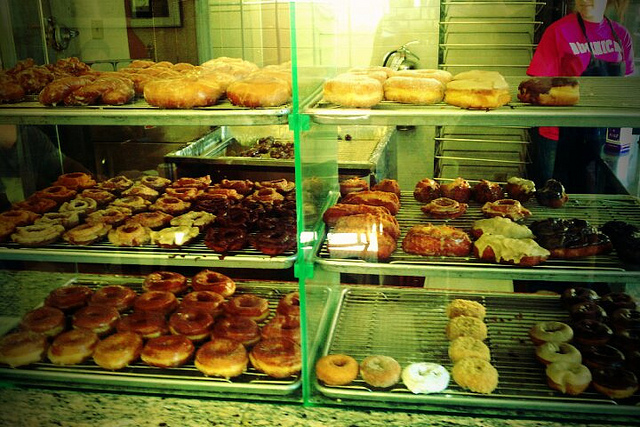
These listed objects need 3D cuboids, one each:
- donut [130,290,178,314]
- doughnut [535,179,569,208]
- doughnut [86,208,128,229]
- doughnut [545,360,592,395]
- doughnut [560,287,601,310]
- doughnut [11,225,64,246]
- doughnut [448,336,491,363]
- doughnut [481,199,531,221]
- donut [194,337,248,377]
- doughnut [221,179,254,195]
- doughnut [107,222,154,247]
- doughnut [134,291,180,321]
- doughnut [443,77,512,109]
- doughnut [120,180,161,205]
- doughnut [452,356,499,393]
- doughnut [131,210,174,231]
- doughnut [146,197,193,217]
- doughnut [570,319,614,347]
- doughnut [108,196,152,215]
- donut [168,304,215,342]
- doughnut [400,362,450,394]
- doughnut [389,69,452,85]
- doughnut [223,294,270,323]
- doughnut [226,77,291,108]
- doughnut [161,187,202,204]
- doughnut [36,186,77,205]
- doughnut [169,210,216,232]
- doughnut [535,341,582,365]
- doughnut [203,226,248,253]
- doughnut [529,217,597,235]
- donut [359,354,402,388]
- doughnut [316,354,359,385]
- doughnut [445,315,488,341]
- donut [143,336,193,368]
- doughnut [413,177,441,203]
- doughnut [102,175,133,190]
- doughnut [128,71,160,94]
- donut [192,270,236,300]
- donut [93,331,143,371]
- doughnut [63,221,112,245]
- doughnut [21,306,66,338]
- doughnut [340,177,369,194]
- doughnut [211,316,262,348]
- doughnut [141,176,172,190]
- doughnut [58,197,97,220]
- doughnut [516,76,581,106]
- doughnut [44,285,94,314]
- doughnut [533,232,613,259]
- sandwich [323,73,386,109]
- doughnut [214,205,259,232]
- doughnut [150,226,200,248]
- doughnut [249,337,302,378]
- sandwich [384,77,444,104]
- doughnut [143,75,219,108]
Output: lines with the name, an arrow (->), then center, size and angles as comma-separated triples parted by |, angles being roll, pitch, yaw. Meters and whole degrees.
donut -> -0.936, 0.495, 2.676 | 0.192, 0.044, 0.165 | 1, 6, -23
doughnut -> 1.302, -0.107, 2.652 | 0.171, 0.058, 0.176 | 5, 34, 18
doughnut -> -1.197, 0.020, 2.664 | 0.159, 0.043, 0.162 | 18, 19, 39
doughnut -> 1.094, 0.714, 2.086 | 0.177, 0.049, 0.147 | -9, 17, -16
doughnut -> 1.407, 0.450, 2.561 | 0.159, 0.042, 0.150 | 3, 16, 37
doughnut -> -1.427, 0.104, 2.418 | 0.165, 0.027, 0.135 | 5, 15, 12
doughnut -> 0.720, 0.645, 2.276 | 0.164, 0.043, 0.133 | -12, 26, -2
doughnut -> 0.996, -0.023, 2.558 | 0.174, 0.038, 0.159 | 5, 19, 32
donut -> -0.473, 0.691, 2.283 | 0.241, 0.095, 0.203 | 8, 23, 20
doughnut -> -0.537, -0.169, 3.021 | 0.164, 0.051, 0.118 | 2, 10, -12
doughnut -> -0.996, 0.114, 2.469 | 0.178, 0.033, 0.151 | 11, 25, 18
doughnut -> -0.930, 0.515, 2.673 | 0.210, 0.047, 0.173 | 1, 10, -14
doughnut -> 0.708, -0.542, 2.133 | 0.243, 0.061, 0.210 | -2, 14, 1
doughnut -> -1.132, -0.136, 3.001 | 0.177, 0.040, 0.164 | 13, 20, 27
doughnut -> 0.708, 0.704, 2.165 | 0.055, 0.160, 0.139 | 40, 18, -29
doughnut -> -0.931, 0.031, 2.632 | 0.149, 0.032, 0.143 | 15, 18, 34
doughnut -> -0.901, -0.043, 2.813 | 0.185, 0.040, 0.157 | 5, 12, 21
doughnut -> 1.326, 0.579, 2.314 | 0.161, 0.042, 0.135 | -9, 18, -19
doughnut -> -1.149, -0.048, 2.865 | 0.174, 0.039, 0.145 | 2, 15, -5
donut -> -0.713, 0.554, 2.577 | 0.292, 0.089, 0.223 | 11, 45, -28
doughnut -> 0.481, 0.750, 2.165 | 0.212, 0.070, 0.144 | 1, 22, 2
doughnut -> 0.550, -0.717, 2.482 | 0.274, 0.056, 0.223 | 0, 13, 3
doughnut -> -0.418, 0.551, 2.678 | 0.259, 0.062, 0.224 | 9, 9, 26
doughnut -> -0.288, -0.597, 2.274 | 0.342, 0.083, 0.289 | -10, 31, -13
doughnut -> -0.872, -0.120, 2.951 | 0.183, 0.036, 0.135 | 2, 11, -1
doughnut -> -1.633, -0.122, 2.934 | 0.185, 0.053, 0.154 | 5, 7, 13
doughnut -> -0.699, 0.035, 2.580 | 0.177, 0.040, 0.146 | -5, 13, -13
doughnut -> 1.114, 0.652, 2.214 | 0.149, 0.036, 0.122 | -3, 11, 9
doughnut -> -0.465, 0.132, 2.349 | 0.209, 0.062, 0.187 | -3, 21, -7
doughnut -> 1.176, 0.064, 2.276 | 0.178, 0.035, 0.137 | -3, 5, -12
donut -> 0.291, 0.725, 2.206 | 0.169, 0.085, 0.188 | 16, 27, 35
doughnut -> 0.080, 0.724, 2.201 | 0.173, 0.082, 0.143 | -13, 26, -30
doughnut -> 0.736, 0.576, 2.387 | 0.176, 0.040, 0.143 | -6, 15, -8
donut -> -0.746, 0.674, 2.309 | 0.186, 0.048, 0.155 | -2, 16, -18
doughnut -> 0.649, -0.139, 2.845 | 0.179, 0.063, 0.192 | -5, 22, 14
doughnut -> -1.327, -0.197, 3.104 | 0.140, 0.037, 0.121 | -10, 21, -37
doughnut -> -0.972, -0.735, 2.596 | 0.226, 0.054, 0.174 | 1, 27, -6
donut -> -0.673, 0.447, 2.905 | 0.342, 0.076, 0.263 | 7, -3, 9
donut -> -0.993, 0.679, 2.339 | 0.188, 0.090, 0.208 | 19, 29, 40
doughnut -> -1.213, 0.107, 2.449 | 0.188, 0.034, 0.127 | 4, 30, 15
doughnut -> -1.499, 0.590, 2.561 | 0.218, 0.049, 0.177 | -5, 27, -26
doughnut -> 0.205, -0.168, 2.838 | 0.136, 0.054, 0.122 | 6, 14, 28
doughnut -> -0.444, 0.616, 2.508 | 0.274, 0.069, 0.227 | -1, 20, -20
doughnut -> -1.092, -0.209, 3.166 | 0.157, 0.028, 0.128 | 5, 12, 7
doughnut -> -1.419, -0.043, 2.780 | 0.170, 0.030, 0.165 | -18, 27, -37
doughnut -> 1.129, -0.572, 2.179 | 0.241, 0.063, 0.161 | -12, 1, -13
doughnut -> -1.461, 0.498, 2.753 | 0.215, 0.041, 0.173 | -3, 19, -11
doughnut -> 1.181, 0.143, 2.196 | 0.240, 0.046, 0.167 | -3, 6, -4
sandwich -> 0.158, -0.574, 2.264 | 0.276, 0.124, 0.143 | 0, 24, 0
doughnut -> -0.438, 0.033, 2.537 | 0.254, 0.071, 0.199 | 0, 42, -14
doughnut -> -0.743, 0.117, 2.416 | 0.177, 0.035, 0.138 | -6, 15, -31
doughnut -> -0.192, 0.678, 2.291 | 0.286, 0.067, 0.245 | -3, 26, -25
sandwich -> 0.527, -0.626, 2.344 | 0.341, 0.096, 0.252 | 18, 37, 38
doughnut -> -0.674, -0.555, 2.248 | 0.273, 0.060, 0.212 | 0, 25, 5
